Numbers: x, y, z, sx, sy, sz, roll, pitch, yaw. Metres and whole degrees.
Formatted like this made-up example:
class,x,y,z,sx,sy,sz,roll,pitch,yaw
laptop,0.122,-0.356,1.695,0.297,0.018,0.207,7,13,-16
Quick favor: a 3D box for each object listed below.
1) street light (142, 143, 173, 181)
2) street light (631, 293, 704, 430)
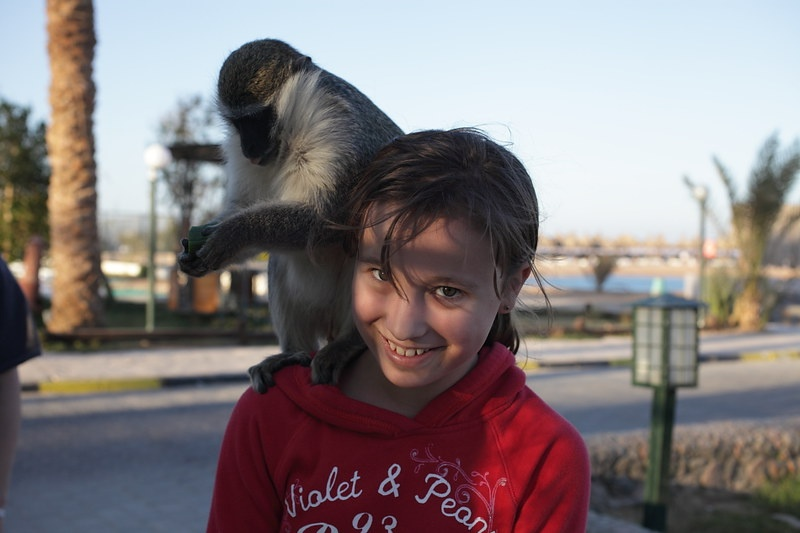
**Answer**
class,x,y,z,sx,sy,sz,roll,pitch,yaw
street light,-4.086,-1.700,16.810,0.401,0.635,1.645,-2,9,-13
street light,2.511,0.754,9.402,0.738,1.126,0.761,0,-1,2
